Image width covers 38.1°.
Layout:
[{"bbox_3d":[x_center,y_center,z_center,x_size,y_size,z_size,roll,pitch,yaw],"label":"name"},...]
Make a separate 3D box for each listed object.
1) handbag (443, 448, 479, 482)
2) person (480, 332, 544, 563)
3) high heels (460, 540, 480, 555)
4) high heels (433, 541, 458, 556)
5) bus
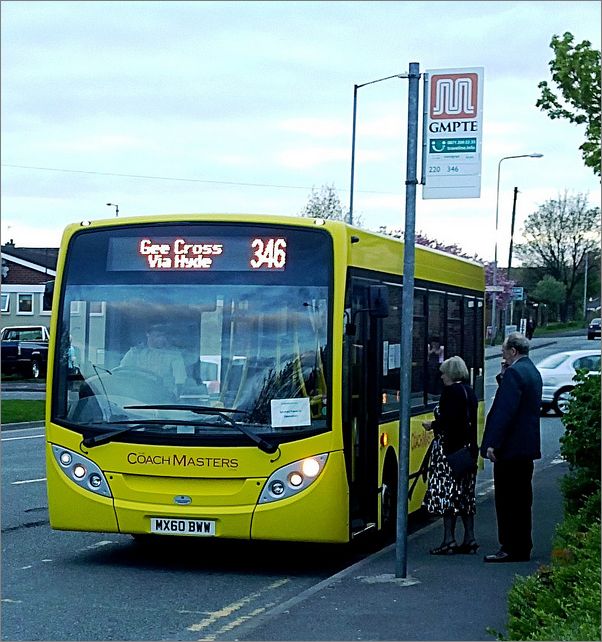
[{"bbox_3d":[1.316,1.167,7.140,0.258,0.244,0.087,-27,9,-2],"label":"handbag"},{"bbox_3d":[1.696,1.015,6.999,0.551,1.812,0.547,-5,-1,15],"label":"person"},{"bbox_3d":[1.415,1.906,7.301,0.071,0.086,0.202,-5,-8,33],"label":"high heels"},{"bbox_3d":[1.213,1.911,7.319,0.272,0.109,0.092,2,-3,-1],"label":"high heels"},{"bbox_3d":[-0.015,0.443,8.247,1.986,1.781,4.174,0,-2,23],"label":"bus"}]
